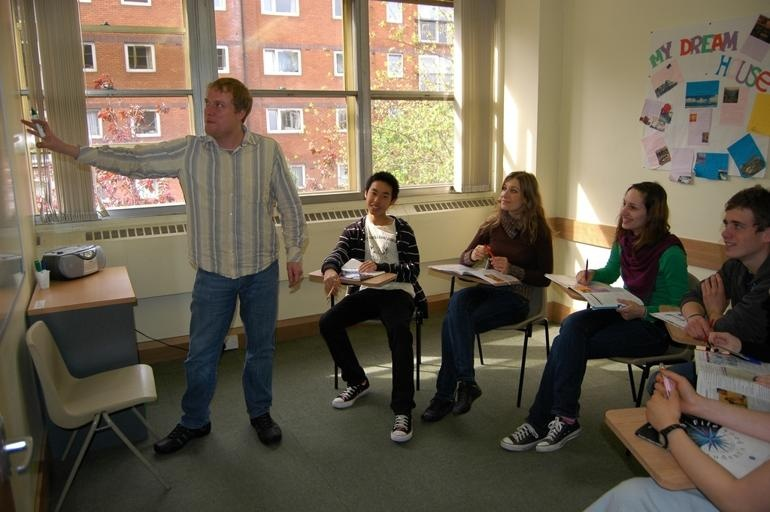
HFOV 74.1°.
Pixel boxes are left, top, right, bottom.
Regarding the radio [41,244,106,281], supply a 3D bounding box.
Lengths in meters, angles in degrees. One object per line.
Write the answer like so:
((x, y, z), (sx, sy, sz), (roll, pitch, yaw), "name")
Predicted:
((-2.226, 0.041, 3.670), (0.331, 0.219, 0.376), (2, 16, 32), "radio")

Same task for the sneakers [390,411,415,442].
((0.107, 1.106, 3.365), (0.154, 0.133, 0.218), (-1, 16, 1), "sneakers")

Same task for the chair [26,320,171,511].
((-1.631, 0.812, 2.938), (0.558, 0.958, 0.592), (-9, 17, -25), "chair")

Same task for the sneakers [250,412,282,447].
((-0.774, 1.127, 3.328), (0.105, 0.109, 0.265), (-9, 7, -30), "sneakers")

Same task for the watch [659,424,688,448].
((1.078, 0.674, 1.916), (0.078, 0.082, 0.047), (-4, 38, -19), "watch")

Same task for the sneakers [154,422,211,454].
((-1.303, 1.164, 3.313), (0.351, 0.140, 0.117), (-9, 16, -44), "sneakers")

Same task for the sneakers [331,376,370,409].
((-0.247, 1.007, 3.755), (0.111, 0.134, 0.340), (0, 2, 37), "sneakers")

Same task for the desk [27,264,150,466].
((-1.814, 0.693, 3.085), (0.522, 0.744, 0.981), (-5, 19, -15), "desk")

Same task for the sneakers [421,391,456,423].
((0.398, 1.049, 3.558), (0.106, 0.135, 0.322), (-1, 1, 42), "sneakers")

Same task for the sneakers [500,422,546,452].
((0.867, 1.143, 3.247), (0.296, 0.123, 0.126), (0, 1, -16), "sneakers")
